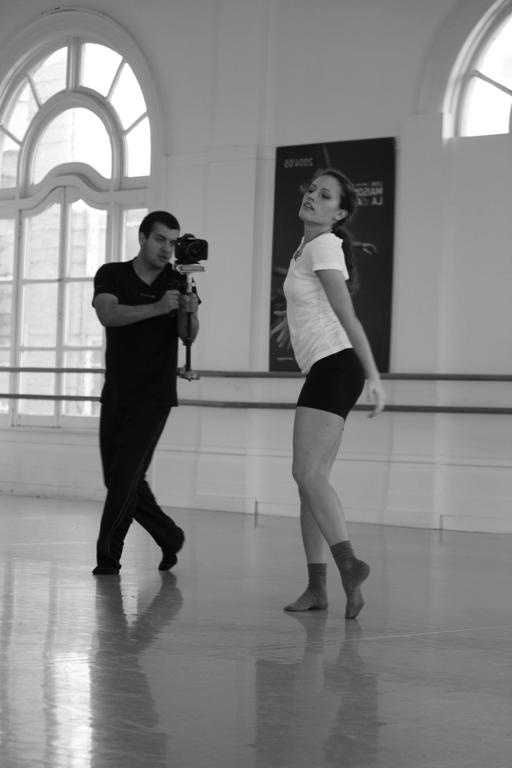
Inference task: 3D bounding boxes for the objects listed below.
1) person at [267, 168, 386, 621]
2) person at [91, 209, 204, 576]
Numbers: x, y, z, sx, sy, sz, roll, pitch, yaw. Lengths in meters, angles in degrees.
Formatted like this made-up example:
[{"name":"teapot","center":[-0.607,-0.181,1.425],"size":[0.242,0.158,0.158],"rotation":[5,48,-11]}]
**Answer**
[{"name":"person","center":[0.231,0.002,2.265],"size":[0.305,1.406,0.465],"rotation":[3,4,-10]},{"name":"person","center":[-0.453,0.021,2.919],"size":[0.406,1.432,0.288],"rotation":[3,4,-11]}]
